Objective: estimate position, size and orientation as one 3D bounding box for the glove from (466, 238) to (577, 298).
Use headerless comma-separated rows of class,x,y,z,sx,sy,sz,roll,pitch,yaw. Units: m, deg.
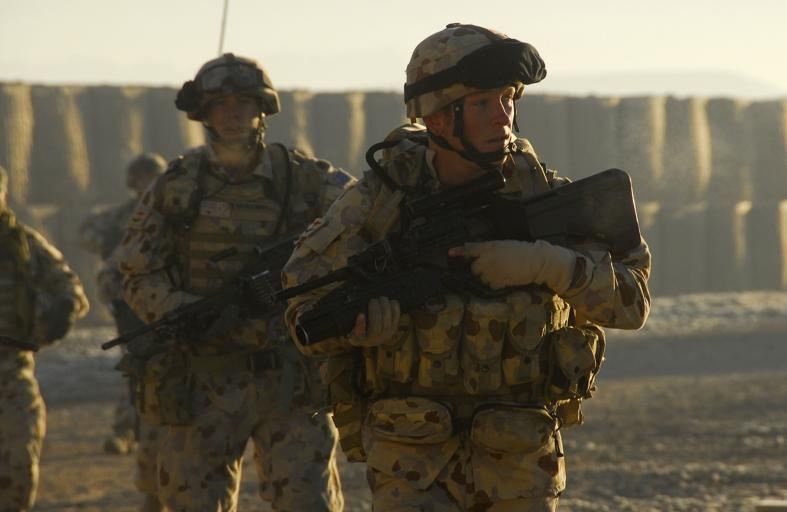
glove,1.187,0.070,18.260,1.049,0.493,0.205,0,-1,8
